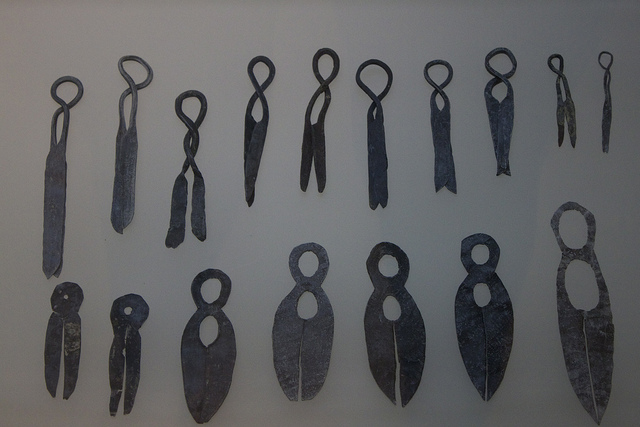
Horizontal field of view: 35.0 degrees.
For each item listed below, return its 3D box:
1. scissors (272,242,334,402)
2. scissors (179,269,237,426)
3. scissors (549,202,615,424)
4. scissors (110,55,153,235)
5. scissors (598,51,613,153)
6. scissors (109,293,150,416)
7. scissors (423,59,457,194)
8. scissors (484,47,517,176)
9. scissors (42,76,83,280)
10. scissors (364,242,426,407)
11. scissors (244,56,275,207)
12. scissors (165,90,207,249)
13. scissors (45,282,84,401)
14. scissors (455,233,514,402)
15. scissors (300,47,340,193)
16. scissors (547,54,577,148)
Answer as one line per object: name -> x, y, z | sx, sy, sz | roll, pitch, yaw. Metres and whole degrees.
scissors -> -0.080, 0.568, 5.412 | 0.312, 0.976, 0.012 | -3, -39, 8
scissors -> -0.578, 0.697, 5.359 | 0.289, 0.786, 0.123 | 0, -12, -6
scissors -> 1.382, 0.516, 5.382 | 0.300, 1.152, 0.171 | 5, -14, -29
scissors -> -0.993, -0.330, 5.440 | 0.159, 0.952, 0.068 | 4, -7, -6
scissors -> 1.563, -0.614, 5.533 | 0.076, 0.572, 0.045 | -8, -18, 37
scissors -> -0.996, 0.745, 5.355 | 0.202, 0.617, 0.112 | 0, -12, -6
scissors -> 0.649, -0.471, 5.483 | 0.158, 0.727, 0.113 | -3, -12, 7
scissors -> 0.983, -0.553, 5.494 | 0.183, 0.685, 0.112 | -3, -12, 9
scissors -> -1.371, -0.199, 5.457 | 0.190, 1.080, 0.163 | 1, -12, -12
scissors -> 0.394, 0.575, 5.389 | 0.300, 0.975, 0.016 | -3, -35, 1
scissors -> -0.345, -0.433, 5.508 | 0.137, 0.860, 0.039 | 5, -5, -3
scissors -> -0.710, -0.244, 5.447 | 0.214, 0.843, 0.134 | 1, -12, -11
scissors -> -1.338, 0.670, 5.371 | 0.195, 0.591, 0.103 | -1, -12, -2
scissors -> 0.868, 0.535, 5.401 | 0.303, 1.056, 0.016 | -2, -40, 9
scissors -> -0.002, -0.507, 5.464 | 0.234, 0.781, 0.106 | -11, -15, 38
scissors -> 1.311, -0.613, 5.517 | 0.138, 0.509, 0.080 | -3, -12, 6
